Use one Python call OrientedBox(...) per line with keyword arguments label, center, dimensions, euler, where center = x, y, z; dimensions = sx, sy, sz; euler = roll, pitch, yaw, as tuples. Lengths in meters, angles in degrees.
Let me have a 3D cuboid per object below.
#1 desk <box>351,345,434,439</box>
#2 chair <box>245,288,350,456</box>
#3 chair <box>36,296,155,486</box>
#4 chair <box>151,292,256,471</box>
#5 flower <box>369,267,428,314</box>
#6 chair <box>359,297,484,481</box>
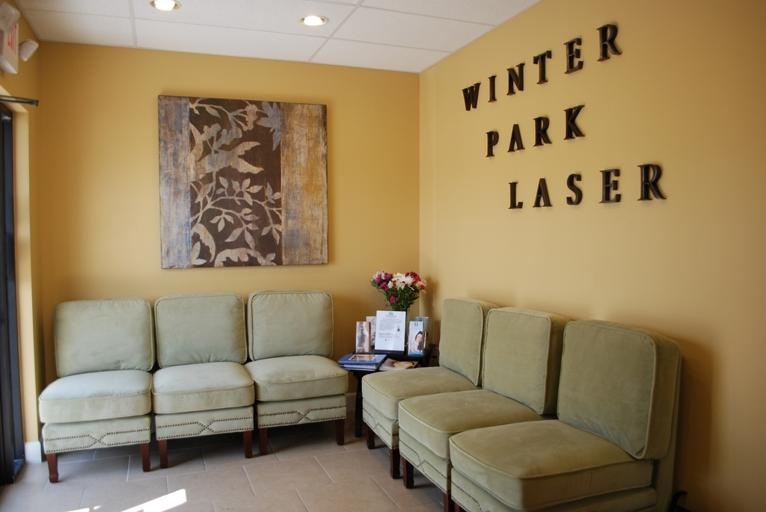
OrientedBox(label="desk", center=(0.089, 1.149, 5.396), dimensions=(0.946, 0.850, 0.711), euler=(0, 1, -8))
OrientedBox(label="chair", center=(-0.775, 0.991, 5.221), dimensions=(0.849, 1.244, 0.830), euler=(-3, 11, -14))
OrientedBox(label="chair", center=(-2.279, 1.062, 4.782), dimensions=(0.812, 1.260, 0.831), euler=(-3, 11, -17))
OrientedBox(label="chair", center=(-1.511, 1.022, 4.992), dimensions=(0.793, 1.242, 0.823), euler=(-3, 11, -17))
OrientedBox(label="flower", center=(0.151, 0.329, 5.505), dimensions=(0.414, 0.403, 0.416), euler=(-2, -4, 43))
OrientedBox(label="chair", center=(0.365, 1.017, 4.820), dimensions=(1.012, 1.234, 0.818), euler=(-4, 5, -31))
